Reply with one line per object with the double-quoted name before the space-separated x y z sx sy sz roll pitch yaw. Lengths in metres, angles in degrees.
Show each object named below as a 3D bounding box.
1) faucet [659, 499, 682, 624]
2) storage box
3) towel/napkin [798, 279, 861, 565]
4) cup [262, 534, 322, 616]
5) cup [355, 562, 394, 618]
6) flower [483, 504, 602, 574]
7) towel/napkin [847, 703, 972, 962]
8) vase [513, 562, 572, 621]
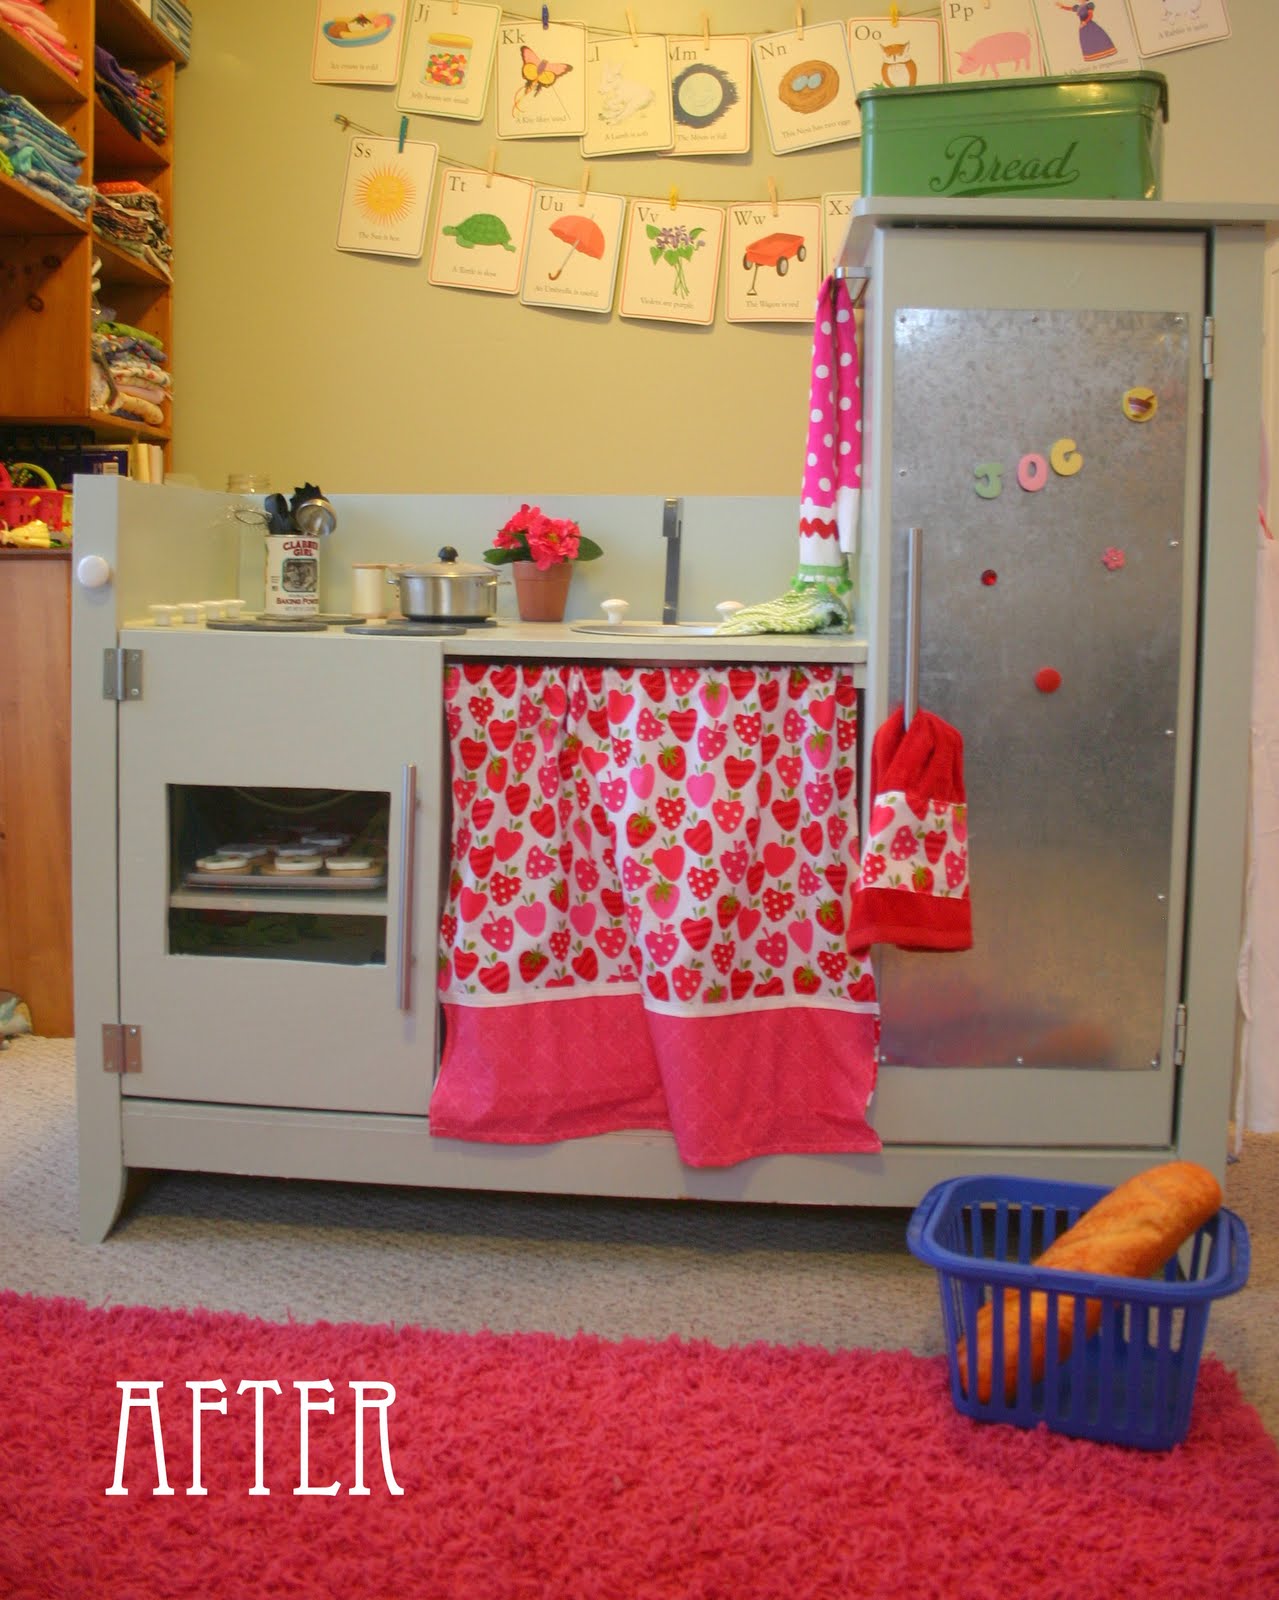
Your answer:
"faucet" 0.055 -0.422 2.499 0.036 0.218 0.094 1 3 2
"storage box" 0.484 -0.808 1.785 0.330 0.108 0.196 2 10 8
"towel/napkin" 0.279 -0.535 2.002 0.083 0.427 0.133 1 3 2
"cup" -0.594 -0.386 2.401 0.100 0.135 0.065 -1 3 -33
"cup" -0.478 -0.369 2.504 0.080 0.109 0.194 0 3 -11
"flower" -0.176 -0.471 2.510 0.211 0.121 0.142 1 3 -2
"towel/napkin" 0.344 0.039 1.716 0.177 0.290 0.069 -1 3 -29
"vase" -0.177 -0.370 2.509 0.109 0.086 0.098 1 6 2
